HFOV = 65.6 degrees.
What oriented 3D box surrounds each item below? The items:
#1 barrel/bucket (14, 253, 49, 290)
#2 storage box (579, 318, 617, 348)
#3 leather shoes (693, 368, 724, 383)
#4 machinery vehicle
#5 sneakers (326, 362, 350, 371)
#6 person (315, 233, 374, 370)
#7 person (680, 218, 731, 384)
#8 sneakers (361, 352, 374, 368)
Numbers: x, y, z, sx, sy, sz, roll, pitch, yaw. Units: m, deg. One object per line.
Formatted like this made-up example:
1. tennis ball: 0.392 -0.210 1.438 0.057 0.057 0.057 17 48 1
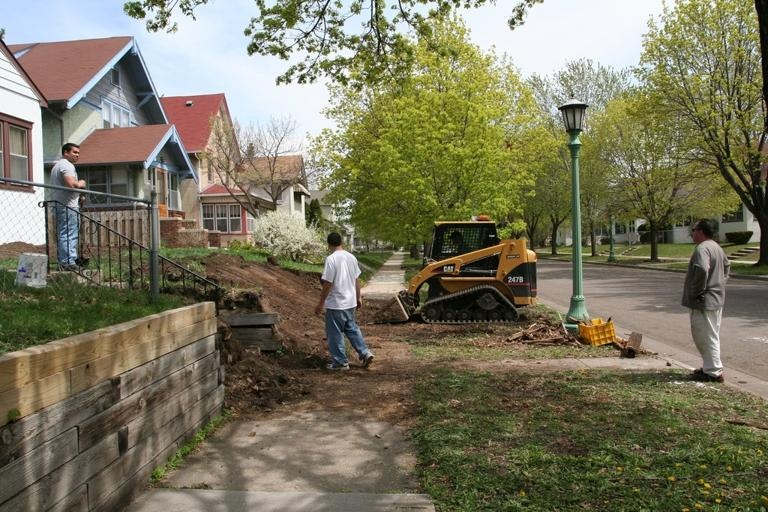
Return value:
1. barrel/bucket: -4.890 0.193 8.293 0.430 0.521 0.378 20 14 42
2. storage box: 4.134 1.482 11.742 0.479 0.330 0.778 -2 4 8
3. leather shoes: 4.853 1.809 8.978 0.180 0.207 0.490 -1 -10 10
4. machinery vehicle: 1.767 0.332 14.897 4.173 2.534 2.332 0 -1 13
5. sneakers: -0.770 1.846 9.890 0.354 0.158 0.139 5 -2 9
6. person: -0.691 0.745 10.053 0.858 2.294 0.670 -2 6 -9
7. person: 4.860 0.647 9.007 0.602 2.384 0.575 -7 8 -39
8. sneakers: -0.280 1.757 10.043 0.124 0.339 0.154 -13 48 -39
